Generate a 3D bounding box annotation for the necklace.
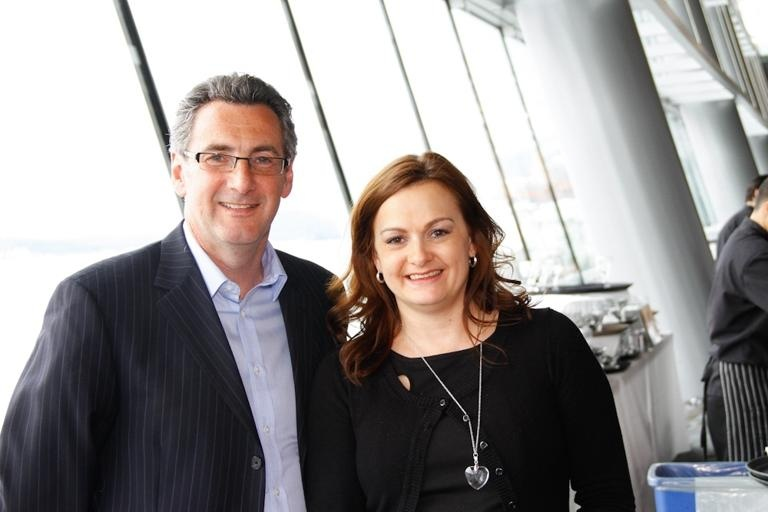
[{"bbox_3d":[0.341,0.697,2.881,0.339,0.726,0.102,-10,-15,1],"label":"necklace"}]
